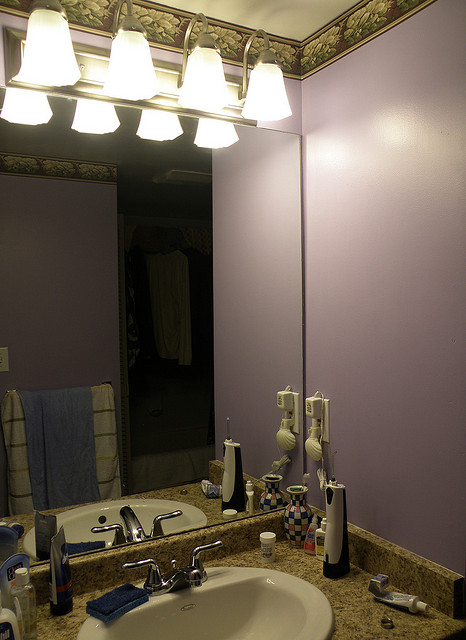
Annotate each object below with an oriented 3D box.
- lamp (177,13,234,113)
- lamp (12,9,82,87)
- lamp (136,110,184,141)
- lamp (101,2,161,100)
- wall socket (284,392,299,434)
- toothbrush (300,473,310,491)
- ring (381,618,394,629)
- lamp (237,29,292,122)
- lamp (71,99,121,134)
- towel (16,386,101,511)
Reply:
[{"bbox_3d":[-0.077,-0.667,1.338,0.128,0.256,0.121,1,-5,8],"label":"lamp"},{"bbox_3d":[-0.401,-0.583,1.144,0.129,0.172,0.135,5,22,1],"label":"lamp"},{"bbox_3d":[-0.205,-0.539,1.460,0.100,0.083,0.026,2,19,-25],"label":"lamp"},{"bbox_3d":[-0.249,-0.642,1.257,0.131,0.162,0.088,-5,2,-13],"label":"lamp"},{"bbox_3d":[0.191,0.301,1.692,0.050,0.129,0.016,-3,2,7],"label":"wall socket"},{"bbox_3d":[0.226,0.492,1.629,0.011,0.075,0.018,-12,22,-35],"label":"toothbrush"},{"bbox_3d":[0.332,0.649,1.127,0.025,0.004,0.040,-5,2,15],"label":"ring"},{"bbox_3d":[0.078,-0.664,1.419,0.127,0.250,0.120,2,1,22],"label":"lamp"},{"bbox_3d":[-0.359,-0.513,1.387,0.090,0.072,0.079,-3,11,-22],"label":"lamp"},{"bbox_3d":[-0.445,0.336,1.375,0.165,0.395,0.051,-3,29,-16],"label":"towel"}]
